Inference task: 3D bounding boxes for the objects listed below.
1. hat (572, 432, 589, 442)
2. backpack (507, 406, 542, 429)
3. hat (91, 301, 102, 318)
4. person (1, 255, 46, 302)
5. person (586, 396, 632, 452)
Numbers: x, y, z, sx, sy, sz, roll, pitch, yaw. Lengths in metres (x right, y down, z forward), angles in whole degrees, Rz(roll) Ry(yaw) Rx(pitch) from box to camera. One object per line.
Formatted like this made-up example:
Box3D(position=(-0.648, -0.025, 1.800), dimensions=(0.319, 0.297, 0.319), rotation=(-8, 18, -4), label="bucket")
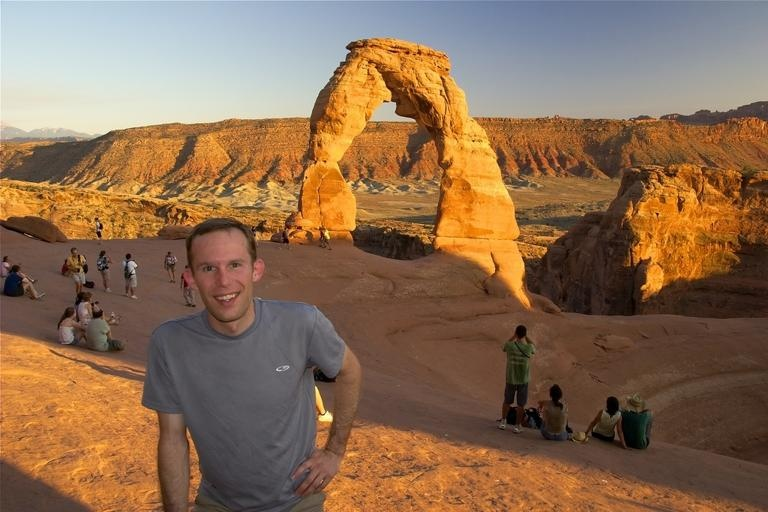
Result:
Box3D(position=(2.967, 2.746, 7.304), dimensions=(0.248, 0.069, 0.222), rotation=(-4, 7, -44), label="hat")
Box3D(position=(2.226, 2.604, 7.716), dimensions=(0.534, 0.373, 0.351), rotation=(3, 2, 11), label="backpack")
Box3D(position=(-5.900, 1.116, 9.953), dimensions=(0.250, 0.118, 0.410), rotation=(-9, 21, -12), label="hat")
Box3D(position=(-8.757, 0.634, 11.765), dimensions=(0.761, 0.857, 0.626), rotation=(1, 3, -36), label="person")
Box3D(position=(3.552, 2.600, 7.792), dimensions=(0.855, 0.637, 1.143), rotation=(12, -6, 18), label="person")
